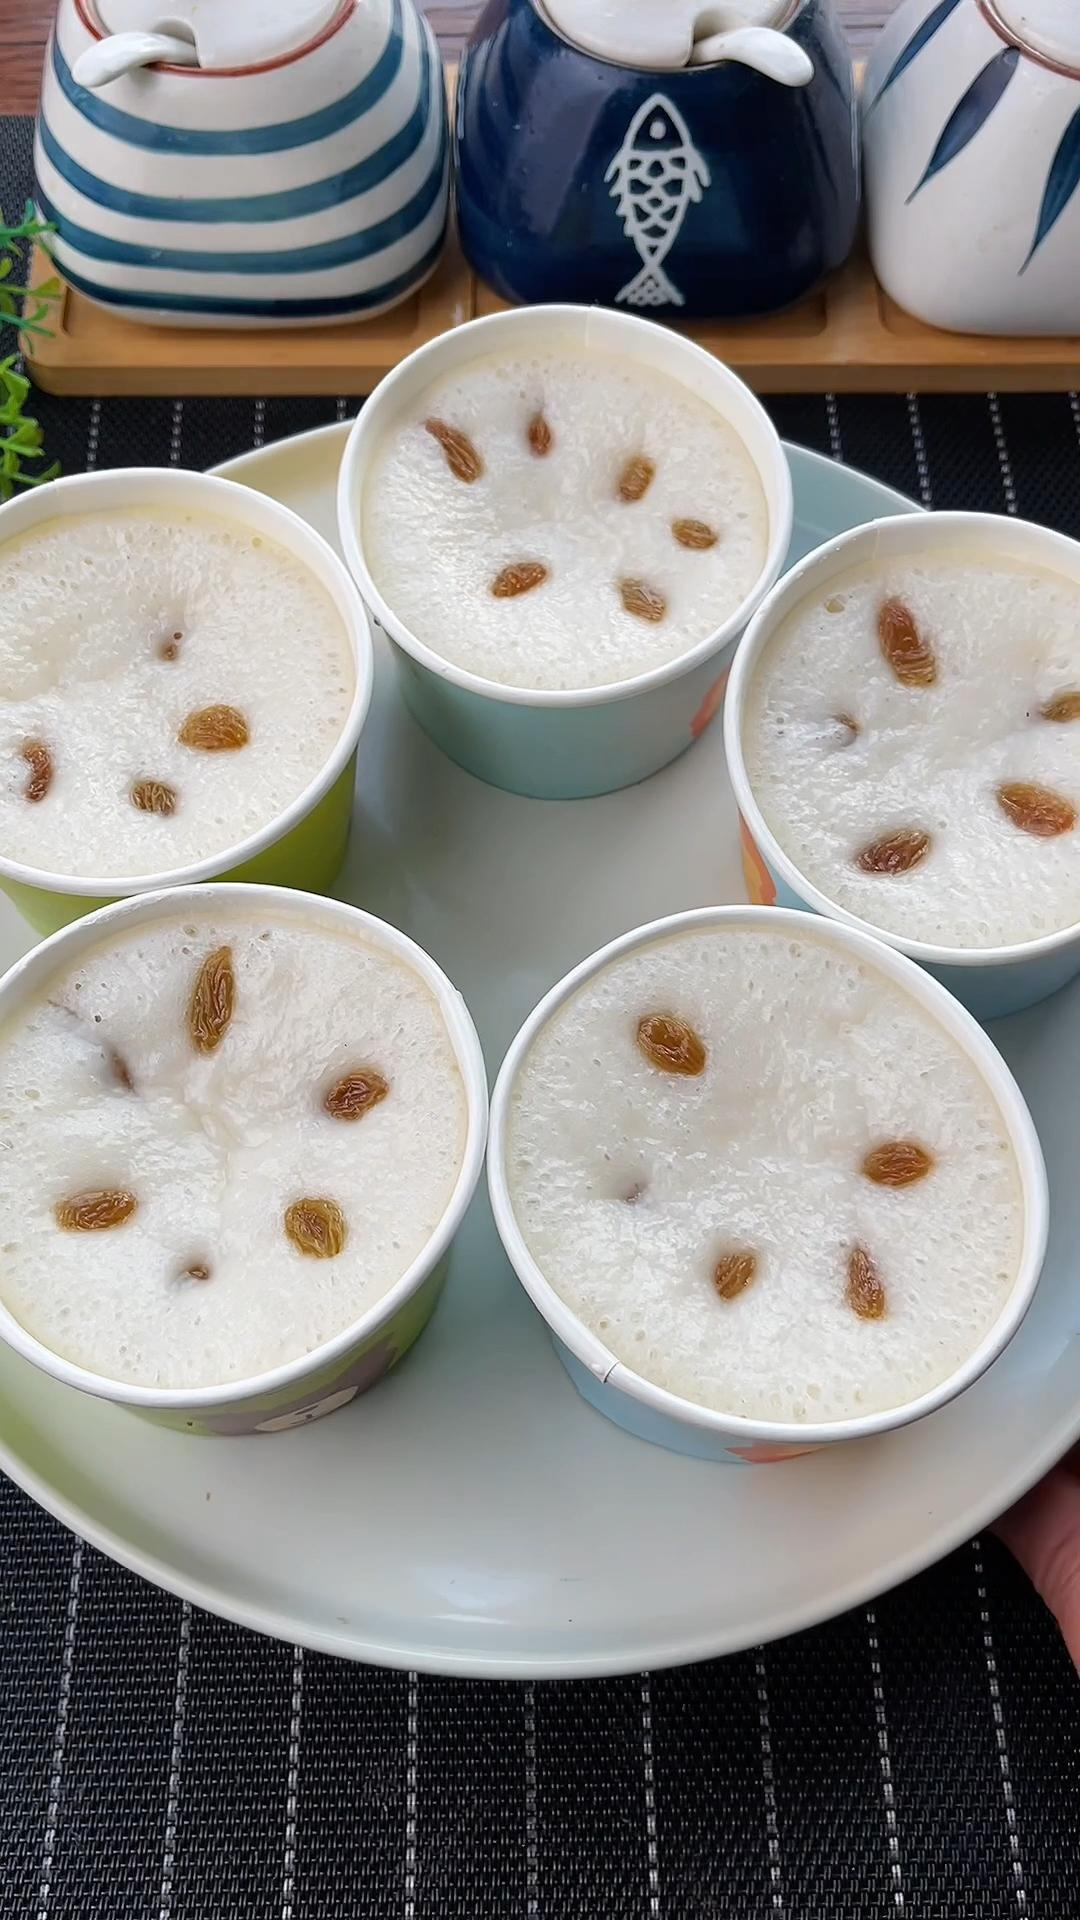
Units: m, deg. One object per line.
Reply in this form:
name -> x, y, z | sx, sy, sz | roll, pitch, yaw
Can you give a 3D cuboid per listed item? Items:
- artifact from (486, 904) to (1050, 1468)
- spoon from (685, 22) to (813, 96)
artifact -> 0.099, 0.097, 0.737 | 0.244, 0.093, 0.241 | 25, 52, 24
spoon -> 0.124, -0.527, 0.962 | 0.046, 0.029, 0.093 | -24, 49, -19
